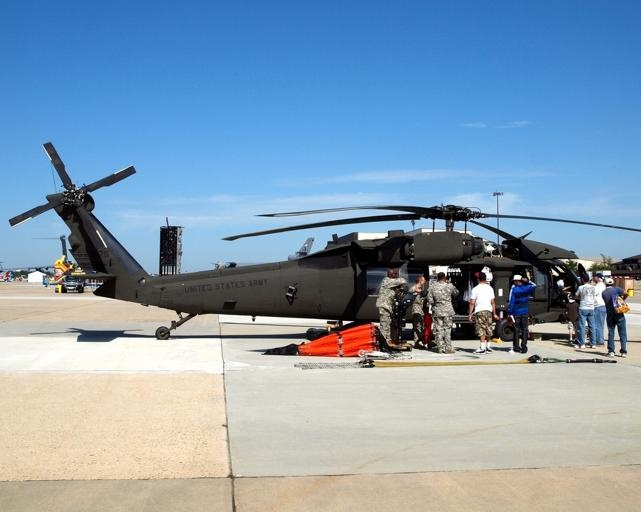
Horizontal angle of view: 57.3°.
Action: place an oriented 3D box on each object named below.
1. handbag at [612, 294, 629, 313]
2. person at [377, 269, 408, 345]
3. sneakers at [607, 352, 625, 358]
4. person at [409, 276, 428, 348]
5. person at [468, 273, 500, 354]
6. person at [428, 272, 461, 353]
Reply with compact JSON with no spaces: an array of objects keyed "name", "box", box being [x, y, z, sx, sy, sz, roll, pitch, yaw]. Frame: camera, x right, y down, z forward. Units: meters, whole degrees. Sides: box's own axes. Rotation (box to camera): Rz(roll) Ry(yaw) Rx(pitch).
[{"name":"handbag","box":[6.487,1.052,12.562,0.291,0.384,0.421,0,1,5]},{"name":"person","box":[1.601,1.165,13.133,0.630,1.751,1.253,1,2,11]},{"name":"sneakers","box":[6.381,2.120,12.599,0.509,0.132,0.131,0,-5,2]},{"name":"person","box":[2.344,1.310,13.929,0.373,1.669,0.531,1,2,8]},{"name":"person","box":[3.579,1.243,12.849,0.531,1.764,0.586,1,2,14]},{"name":"person","box":[2.726,1.238,12.981,0.615,1.766,0.568,1,2,10]}]
